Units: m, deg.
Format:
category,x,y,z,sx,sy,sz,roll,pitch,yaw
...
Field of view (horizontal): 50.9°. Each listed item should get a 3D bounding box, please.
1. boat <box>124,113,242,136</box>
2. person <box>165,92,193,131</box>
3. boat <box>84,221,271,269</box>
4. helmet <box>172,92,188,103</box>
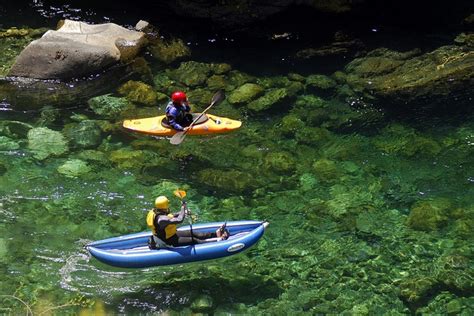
category,x,y,z,sx,sy,sz,roll,pitch,yaw
boat,-1.350,-1.165,18.221,5.769,0.752,1.065,0,41,3
person,-2.133,-1.612,17.918,1.353,1.609,0.936,-11,70,-5
boat,-2.087,2.777,15.567,7.043,0.732,1.557,-4,26,-1
helmet,-2.094,-2.138,17.575,0.771,0.459,0.328,-7,84,-4
